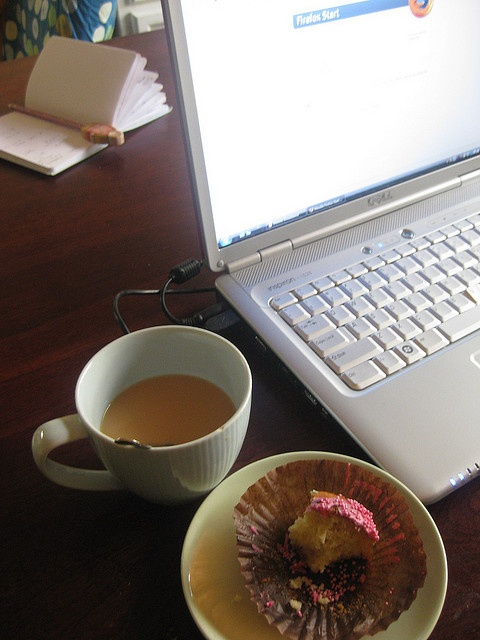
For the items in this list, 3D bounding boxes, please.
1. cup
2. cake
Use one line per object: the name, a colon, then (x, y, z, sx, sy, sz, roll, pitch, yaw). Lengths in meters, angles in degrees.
cup: (-0.043, 0.051, 0.299, 0.116, 0.070, 0.091, -23, 54, -21)
cake: (0.043, 0.098, 0.238, 0.038, 0.029, 0.016, -15, -5, -10)
